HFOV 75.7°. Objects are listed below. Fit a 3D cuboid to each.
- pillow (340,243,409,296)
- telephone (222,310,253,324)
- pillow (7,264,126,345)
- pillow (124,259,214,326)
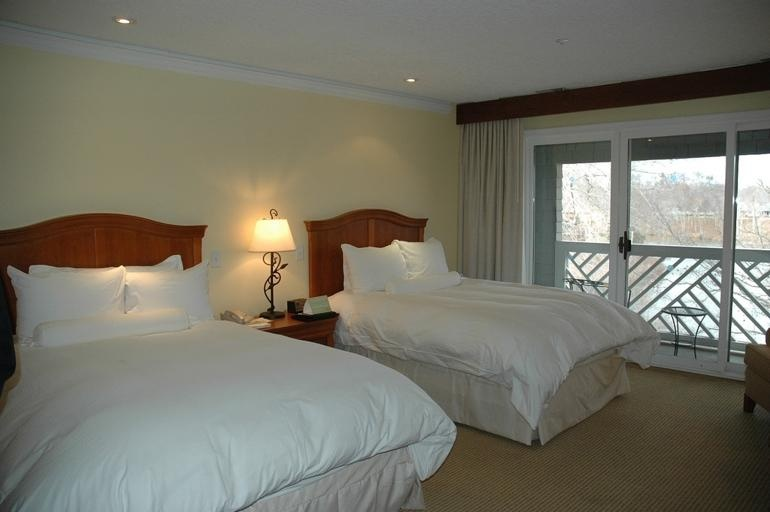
[{"bbox_3d":[-0.126,0.171,5.411,0.542,0.386,0.205,0,-7,-33],"label":"pillow"},{"bbox_3d":[-1.385,0.579,4.680,0.187,0.071,0.148,5,3,35],"label":"telephone"},{"bbox_3d":[-2.336,0.371,3.623,0.539,0.385,0.121,-3,-21,-24],"label":"pillow"},{"bbox_3d":[-1.791,0.314,4.071,0.509,0.403,0.180,3,-33,-36],"label":"pillow"}]
